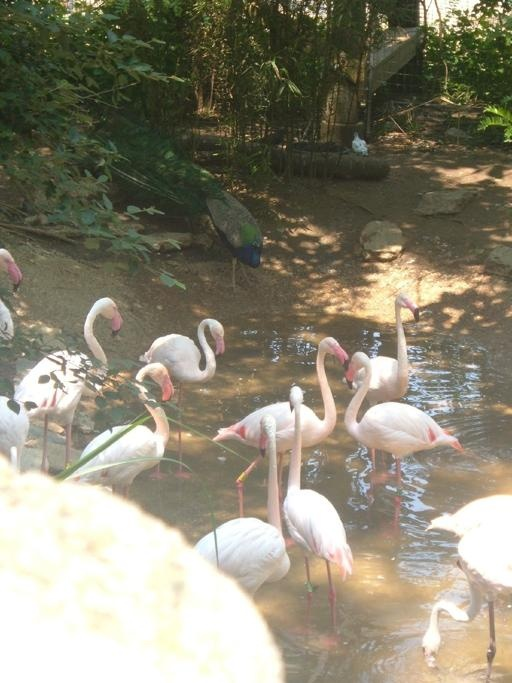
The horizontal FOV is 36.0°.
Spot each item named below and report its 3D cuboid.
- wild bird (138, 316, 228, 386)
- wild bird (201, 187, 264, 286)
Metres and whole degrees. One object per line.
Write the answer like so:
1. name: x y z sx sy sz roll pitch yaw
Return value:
1. wild bird: -0.517 0.071 5.555 0.505 0.542 0.220 35 31 11
2. wild bird: -0.232 -1.153 7.977 0.463 0.761 0.692 -1 8 -26
